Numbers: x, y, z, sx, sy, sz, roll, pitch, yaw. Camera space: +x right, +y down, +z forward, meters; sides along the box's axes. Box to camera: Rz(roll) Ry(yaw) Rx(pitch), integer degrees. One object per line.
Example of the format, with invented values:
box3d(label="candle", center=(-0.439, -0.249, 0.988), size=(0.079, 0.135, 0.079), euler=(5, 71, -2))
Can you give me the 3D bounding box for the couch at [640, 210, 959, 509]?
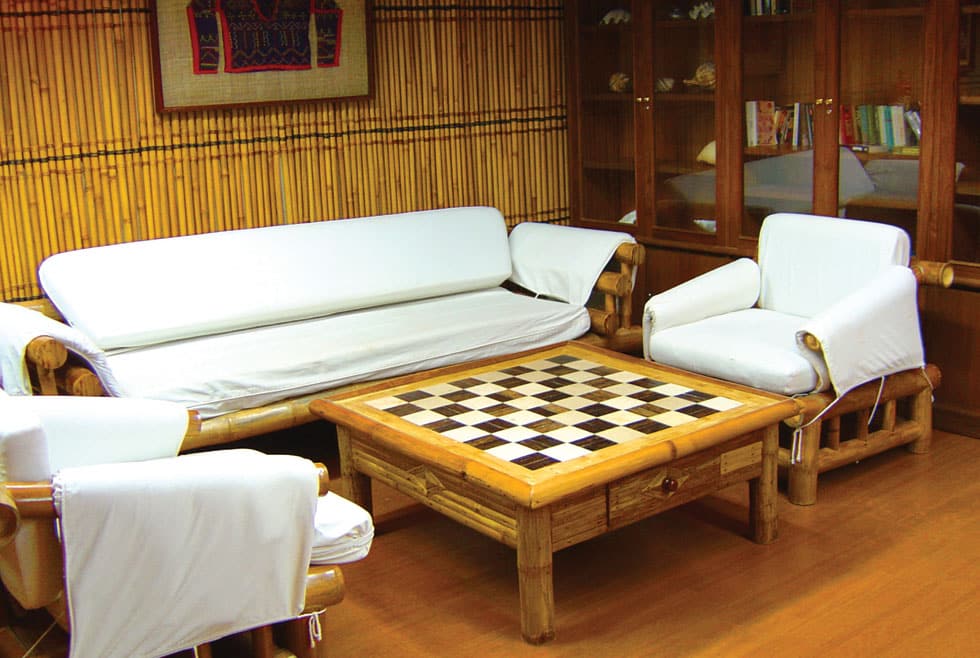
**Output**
box3d(label="couch", center=(1.377, 0.055, 3.753), size=(1.490, 0.962, 1.370), euler=(-8, 18, -9))
